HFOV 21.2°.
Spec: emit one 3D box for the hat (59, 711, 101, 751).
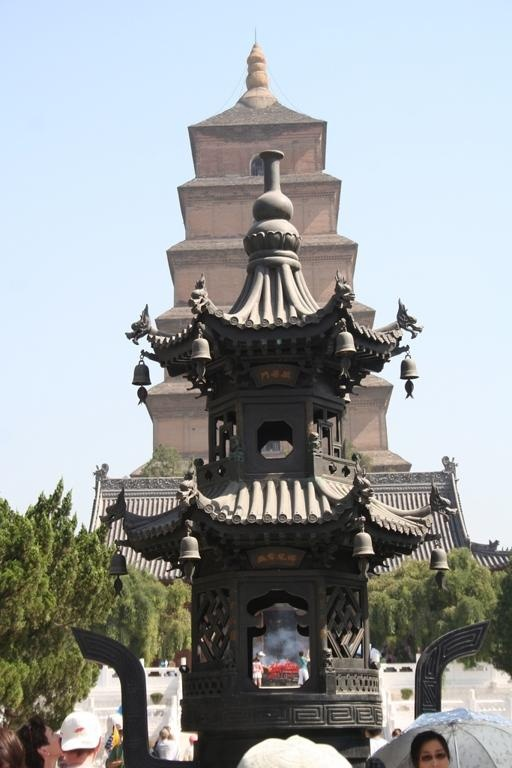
[{"bbox_3d":[-1.192,2.353,9.283,0.263,0.285,0.293,2,-19,-9],"label":"hat"}]
